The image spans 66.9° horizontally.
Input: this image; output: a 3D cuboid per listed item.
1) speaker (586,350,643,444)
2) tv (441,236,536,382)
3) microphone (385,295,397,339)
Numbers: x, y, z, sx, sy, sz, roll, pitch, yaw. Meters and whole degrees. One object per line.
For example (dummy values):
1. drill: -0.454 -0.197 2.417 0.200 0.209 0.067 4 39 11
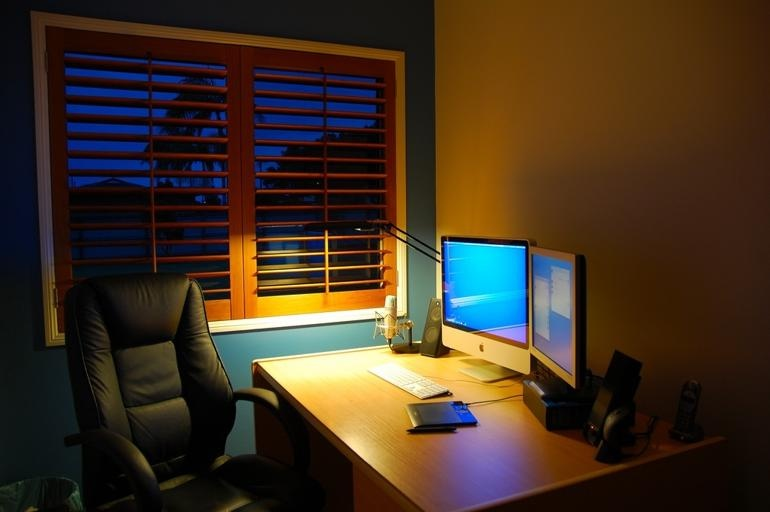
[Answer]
1. speaker: 0.870 0.543 2.213 0.203 0.329 0.144 -6 10 -16
2. tv: 0.505 0.250 2.762 0.230 0.681 0.686 1 -2 -35
3. microphone: 0.030 0.350 3.294 0.068 0.234 0.091 -3 10 1
